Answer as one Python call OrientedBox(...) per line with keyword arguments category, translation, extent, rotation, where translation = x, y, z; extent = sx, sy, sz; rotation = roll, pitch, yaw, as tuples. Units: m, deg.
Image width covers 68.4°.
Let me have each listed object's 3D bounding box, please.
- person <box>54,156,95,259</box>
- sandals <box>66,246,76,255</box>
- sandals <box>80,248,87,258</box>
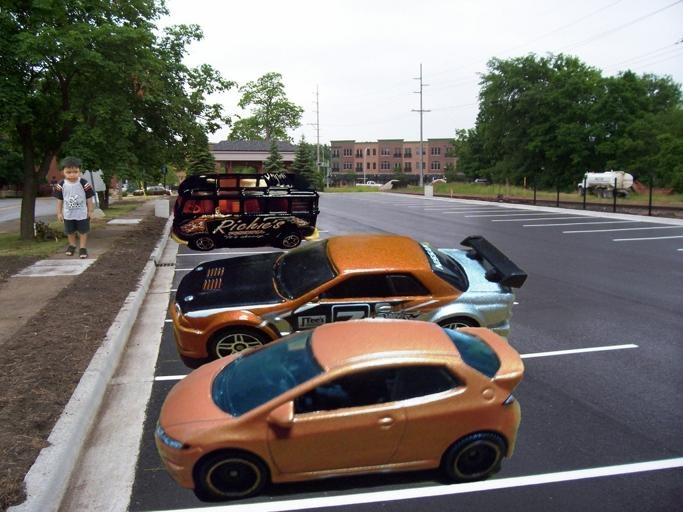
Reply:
OrientedBox(category="person", translation=(-6.882, -1.194, 13.006), extent=(0.818, 2.653, 1.195), rotation=(-5, 12, -33))
OrientedBox(category="sandals", translation=(-7.429, -0.167, 13.835), extent=(0.161, 0.159, 0.435), rotation=(-1, 20, -23))
OrientedBox(category="sandals", translation=(-6.906, -0.070, 13.461), extent=(0.159, 0.114, 0.290), rotation=(-6, 31, -21))
